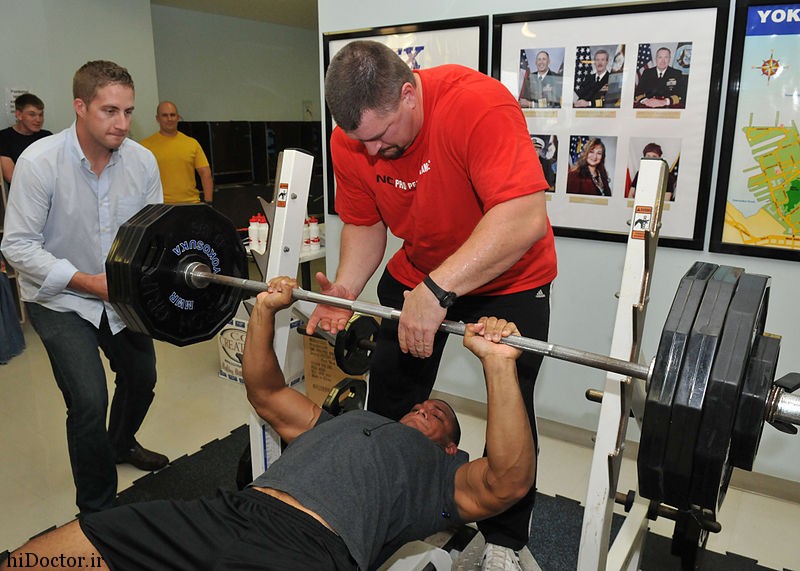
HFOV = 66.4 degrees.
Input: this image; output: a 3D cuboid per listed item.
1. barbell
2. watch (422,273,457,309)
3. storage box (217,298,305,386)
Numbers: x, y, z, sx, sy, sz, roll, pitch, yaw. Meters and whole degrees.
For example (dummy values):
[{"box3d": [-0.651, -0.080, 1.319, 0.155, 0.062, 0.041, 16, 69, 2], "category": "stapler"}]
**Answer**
[{"box3d": [0.050, 0.250, 2.158, 2.310, 0.902, 0.603, 9, 16, 23], "category": "barbell"}, {"box3d": [0.130, 0.027, 1.954, 0.108, 0.040, 0.081, 42, 0, 4], "category": "watch"}, {"box3d": [-0.670, 0.263, 2.985, 0.280, 0.418, 0.402, 14, 30, 29], "category": "storage box"}]
